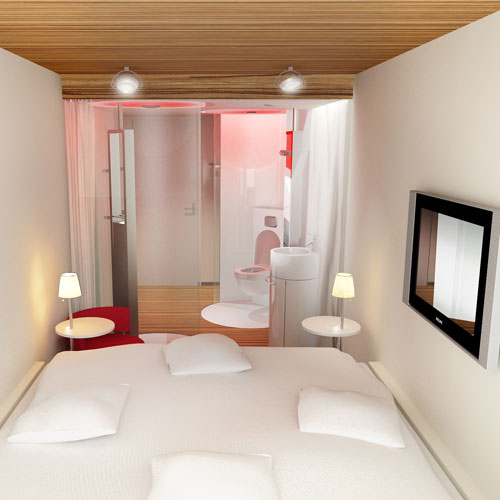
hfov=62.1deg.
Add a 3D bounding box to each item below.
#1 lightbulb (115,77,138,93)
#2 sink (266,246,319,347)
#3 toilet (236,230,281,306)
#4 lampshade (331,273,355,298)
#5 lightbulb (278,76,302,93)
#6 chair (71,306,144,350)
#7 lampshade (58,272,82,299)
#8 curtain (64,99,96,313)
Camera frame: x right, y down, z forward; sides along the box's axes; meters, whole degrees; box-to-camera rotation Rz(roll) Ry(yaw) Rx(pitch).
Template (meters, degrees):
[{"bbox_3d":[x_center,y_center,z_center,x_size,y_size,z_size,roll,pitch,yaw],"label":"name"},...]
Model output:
[{"bbox_3d":[-0.834,-1.104,2.780,0.131,0.048,0.127,7,17,27],"label":"lightbulb"},{"bbox_3d":[0.427,0.524,4.193,0.475,0.996,0.230,2,9,4],"label":"sink"},{"bbox_3d":[0.102,0.259,5.622,0.564,1.035,0.386,2,9,4],"label":"toilet"},{"bbox_3d":[0.726,0.275,3.229,0.183,0.177,0.178,0,3,-1],"label":"lampshade"},{"bbox_3d":[0.259,-1.082,2.688,0.145,0.070,0.076,1,8,2],"label":"lightbulb"},{"bbox_3d":[-1.285,0.721,3.847,0.516,0.585,0.532,-1,5,-12],"label":"chair"},{"bbox_3d":[-1.462,0.288,3.362,0.203,0.209,0.201,0,1,-7],"label":"lampshade"},{"bbox_3d":[-1.640,-0.416,4.049,0.259,2.042,0.161,-1,9,-15],"label":"curtain"}]
